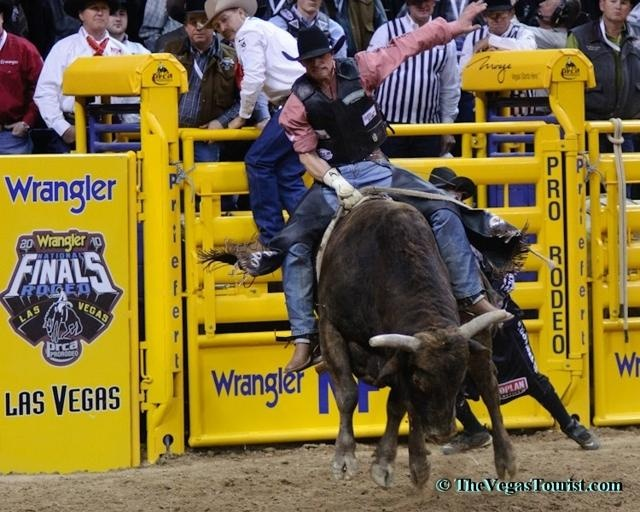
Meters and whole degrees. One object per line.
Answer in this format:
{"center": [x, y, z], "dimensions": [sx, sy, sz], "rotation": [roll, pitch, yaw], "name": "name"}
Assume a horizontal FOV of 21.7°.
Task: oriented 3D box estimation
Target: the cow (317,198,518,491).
{"center": [0.700, 0.661, 12.365], "dimensions": [1.187, 2.124, 1.375], "rotation": [-5, 7, -13], "name": "cow"}

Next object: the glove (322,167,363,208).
{"center": [0.187, -0.511, 12.888], "dimensions": [0.138, 0.212, 0.327], "rotation": [-25, 59, -36], "name": "glove"}

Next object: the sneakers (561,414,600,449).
{"center": [2.162, 1.478, 13.928], "dimensions": [0.183, 0.349, 0.139], "rotation": [-43, -15, -23], "name": "sneakers"}

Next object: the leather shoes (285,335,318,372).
{"center": [-0.139, 0.764, 12.984], "dimensions": [0.132, 0.190, 0.441], "rotation": [-1, 6, 30], "name": "leather shoes"}

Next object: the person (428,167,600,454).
{"center": [1.535, 0.472, 13.380], "dimensions": [0.588, 2.099, 1.269], "rotation": [-11, 12, -9], "name": "person"}

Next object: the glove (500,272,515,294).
{"center": [1.471, 0.212, 13.199], "dimensions": [0.124, 0.174, 0.066], "rotation": [12, -6, -37], "name": "glove"}
